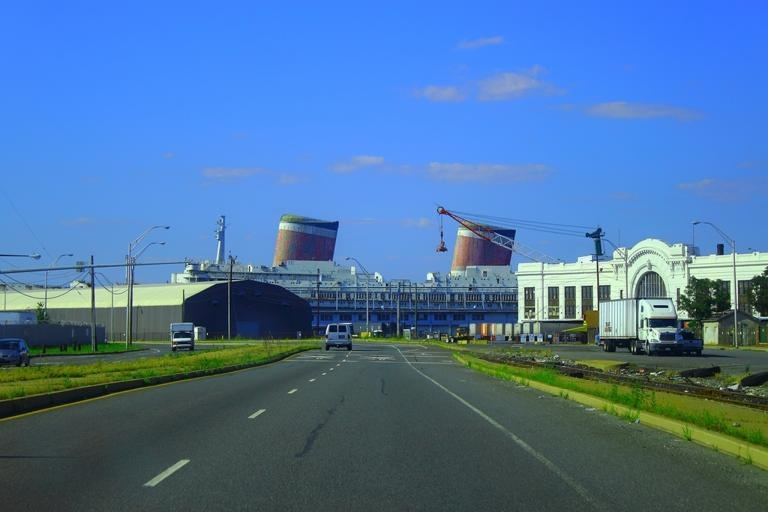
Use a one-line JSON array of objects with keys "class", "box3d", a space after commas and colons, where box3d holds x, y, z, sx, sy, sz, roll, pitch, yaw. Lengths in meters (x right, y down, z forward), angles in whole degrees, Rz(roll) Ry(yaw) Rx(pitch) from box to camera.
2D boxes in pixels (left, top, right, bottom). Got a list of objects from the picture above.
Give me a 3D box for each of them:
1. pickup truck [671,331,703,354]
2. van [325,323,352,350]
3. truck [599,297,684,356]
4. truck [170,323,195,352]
[{"class": "pickup truck", "box3d": [22.184, 6.266, 64.144, 1.536, 1.133, 3.306, 0, -7, 10]}, {"class": "van", "box3d": [-3.917, 7.001, 78.196, 1.683, 1.487, 2.972, 1, 0, 3]}, {"class": "truck", "box3d": [19.830, 5.463, 69.460, 3.236, 4.343, 14.153, -1, -2, 0]}, {"class": "truck", "box3d": [-18.503, 7.508, 81.265, 2.223, 1.981, 3.802, 0, -8, -4]}]
